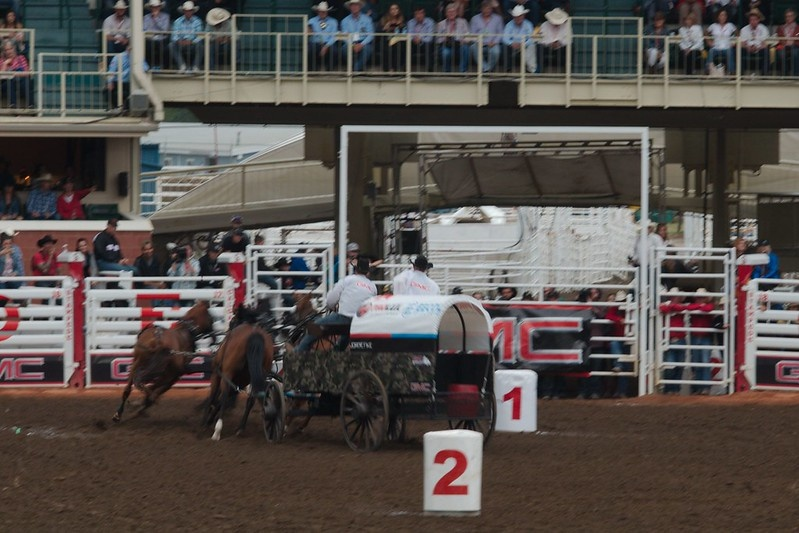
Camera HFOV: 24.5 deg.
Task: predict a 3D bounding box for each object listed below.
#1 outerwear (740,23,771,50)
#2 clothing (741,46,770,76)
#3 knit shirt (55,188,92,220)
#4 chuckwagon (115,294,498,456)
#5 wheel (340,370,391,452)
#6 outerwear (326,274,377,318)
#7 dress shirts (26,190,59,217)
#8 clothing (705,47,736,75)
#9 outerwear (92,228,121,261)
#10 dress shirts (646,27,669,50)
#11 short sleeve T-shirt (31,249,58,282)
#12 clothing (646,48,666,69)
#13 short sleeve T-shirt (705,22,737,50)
[{"bbox_3d":[8.538,-5.517,44.162,0.857,0.583,0.415,1,-5,13],"label":"outerwear"},{"bbox_3d":[8.559,-4.952,44.109,0.911,0.665,0.175,5,7,8],"label":"clothing"},{"bbox_3d":[-7.806,-1.475,43.849,0.786,0.718,0.245,-10,-23,-37],"label":"knit shirt"},{"bbox_3d":[-0.554,2.069,34.966,4.750,2.994,1.537,0,5,2],"label":"chuckwagon"},{"bbox_3d":[-0.628,2.698,34.624,0.340,1.190,1.243,8,-42,-42],"label":"wheel"},{"bbox_3d":[-0.901,0.578,36.318,1.156,0.808,0.534,9,13,-22],"label":"outerwear"},{"bbox_3d":[-8.450,-1.477,43.521,0.685,0.617,0.404,3,-11,-29],"label":"dress shirts"},{"bbox_3d":[7.784,-4.920,44.367,0.826,0.840,0.653,-1,-14,10],"label":"clothing"},{"bbox_3d":[-6.604,-0.482,41.114,0.708,0.795,0.874,0,0,26],"label":"outerwear"},{"bbox_3d":[6.180,-5.495,44.234,0.674,0.588,0.371,6,-5,5],"label":"dress shirts"},{"bbox_3d":[-7.999,-0.030,41.271,0.766,0.789,0.542,1,-6,-15],"label":"short sleeve T-shirt"},{"bbox_3d":[6.142,-4.991,44.034,0.441,0.475,0.189,6,-3,-1],"label":"clothing"},{"bbox_3d":[7.747,-5.546,44.240,0.870,0.660,0.411,1,-9,6],"label":"short sleeve T-shirt"}]
